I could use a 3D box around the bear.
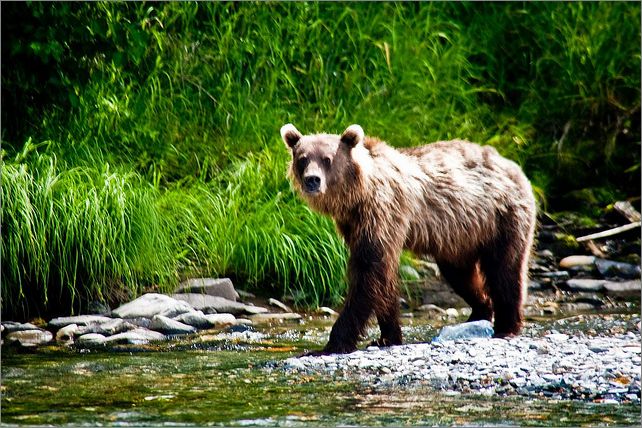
[{"bbox_3d":[1.005,0.328,10.168,3.168,2.762,1.470,-1,2,-26],"label":"bear"}]
